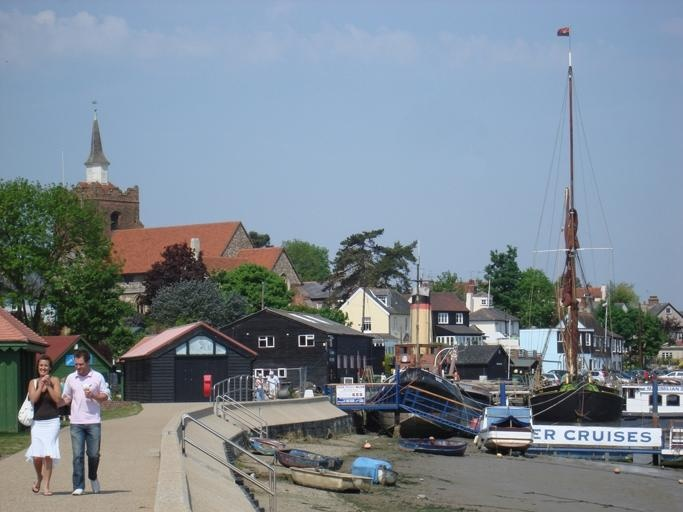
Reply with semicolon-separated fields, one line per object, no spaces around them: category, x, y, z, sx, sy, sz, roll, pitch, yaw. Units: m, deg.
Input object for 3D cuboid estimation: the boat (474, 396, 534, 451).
boat;10.524;11.015;104.579;3.339;3.025;3.875;0;-7;-5
